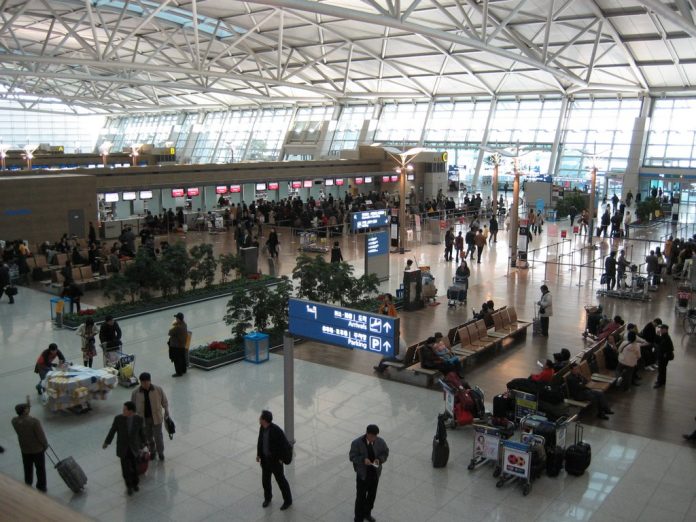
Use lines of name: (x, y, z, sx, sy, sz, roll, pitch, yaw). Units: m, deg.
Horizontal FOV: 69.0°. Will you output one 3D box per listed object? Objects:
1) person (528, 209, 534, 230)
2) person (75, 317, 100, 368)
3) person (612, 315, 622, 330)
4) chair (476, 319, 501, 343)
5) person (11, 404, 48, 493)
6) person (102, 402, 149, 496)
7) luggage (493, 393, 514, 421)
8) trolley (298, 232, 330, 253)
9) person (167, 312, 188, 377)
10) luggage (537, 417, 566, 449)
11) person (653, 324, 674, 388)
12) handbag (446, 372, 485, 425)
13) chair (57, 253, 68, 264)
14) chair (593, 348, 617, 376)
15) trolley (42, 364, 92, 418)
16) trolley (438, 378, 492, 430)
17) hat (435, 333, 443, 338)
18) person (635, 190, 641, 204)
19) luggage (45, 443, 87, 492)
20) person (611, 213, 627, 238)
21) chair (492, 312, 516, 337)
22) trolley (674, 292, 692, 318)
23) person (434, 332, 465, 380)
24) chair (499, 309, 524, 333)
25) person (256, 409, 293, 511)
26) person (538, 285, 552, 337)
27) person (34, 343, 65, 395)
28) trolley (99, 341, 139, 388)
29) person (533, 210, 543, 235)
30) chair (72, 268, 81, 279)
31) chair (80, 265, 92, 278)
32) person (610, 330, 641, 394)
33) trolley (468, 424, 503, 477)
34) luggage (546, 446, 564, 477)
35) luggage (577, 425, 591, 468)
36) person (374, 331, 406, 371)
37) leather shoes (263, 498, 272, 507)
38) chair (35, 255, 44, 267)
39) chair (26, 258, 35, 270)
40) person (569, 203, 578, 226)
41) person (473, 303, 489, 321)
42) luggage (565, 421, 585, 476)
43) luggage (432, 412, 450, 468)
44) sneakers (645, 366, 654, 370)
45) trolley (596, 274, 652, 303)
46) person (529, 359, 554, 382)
person: (11.068, -2.431, 30.466, 0.425, 1.208, 1.639, 4, 9, 19)
person: (-6.260, 2.000, 12.169, 0.407, 1.455, 1.182, -4, 9, -29)
person: (7.306, 1.634, 13.663, 0.219, 0.266, 0.724, 5, 9, 30)
chair: (3.872, 1.935, 14.043, 0.583, 0.755, 0.592, 12, 21, 41)
person: (-4.954, 2.857, 7.900, 0.404, 1.617, 0.912, -5, 10, -33)
person: (-3.508, 2.915, 7.999, 0.575, 1.429, 0.452, -3, 9, -23)
luggage: (2.971, 2.841, 9.716, 0.390, 0.492, 0.702, 4, 9, 25)
trolley: (-1.786, -1.030, 27.505, 2.315, 1.304, 0.809, 8, 16, 35)
person: (-4.088, 1.997, 12.209, 0.455, 1.646, 0.742, -2, 9, -19)
luggage: (3.554, 3.009, 8.787, 0.367, 0.435, 0.670, 7, 10, 37)
person: (7.409, 2.217, 11.827, 0.308, 1.471, 0.462, 6, 10, 33)
handbag: (2.276, 2.715, 10.214, 0.854, 0.989, 0.742, -6, 17, -3)
chair: (-12.112, -0.061, 21.412, 0.411, 0.403, 0.219, -2, 16, -18)
chair: (6.106, 2.344, 12.036, 0.854, 0.566, 0.506, -9, 11, -42)
trolley: (-5.739, 2.710, 10.413, 1.002, 0.916, 0.646, 3, 8, 13)
trolley: (2.308, 2.811, 10.094, 1.104, 0.768, 0.810, -2, 4, -16)
hat: (2.149, 1.763, 11.925, 0.217, 0.136, 0.278, 1, -3, 7)
person: (22.125, -4.912, 38.500, 0.350, 0.616, 0.836, 6, 10, 34)
luggage: (-4.335, 3.354, 7.925, 0.403, 0.586, 0.327, -4, 10, -31)
person: (16.121, -2.085, 30.138, 0.753, 1.456, 1.057, 5, 9, 28)
chair: (4.494, 1.870, 14.714, 0.263, 0.456, 0.673, 8, 16, 39)
trolley: (10.977, 1.475, 16.533, 0.292, 0.495, 0.958, 2, 44, 23)
person: (2.373, 2.262, 11.866, 0.440, 0.740, 1.031, 2, 14, 19)
chair: (4.862, 1.827, 15.118, 0.284, 0.395, 0.654, 11, 20, 39)
person: (-1.094, 2.924, 7.591, 0.514, 1.560, 0.528, 0, 8, -4)
person: (5.936, 1.444, 15.250, 0.344, 1.577, 1.264, 4, 9, 21)
person: (-6.416, 2.370, 10.865, 0.655, 1.180, 0.503, 16, 35, -11)
trolley: (-5.341, 2.430, 11.838, 0.845, 0.904, 0.591, 10, 6, 27)
person: (11.632, -2.231, 30.974, 0.503, 1.406, 2.240, 3, 9, 19)
chair: (-10.542, 0.490, 19.652, 0.276, 0.419, 0.317, -4, 10, -31)
chair: (-10.323, 0.448, 19.939, 0.425, 0.399, 0.410, -7, 7, -32)
person: (6.573, 2.311, 11.871, 0.446, 1.452, 0.476, -9, 22, -4)
trolley: (2.380, 3.159, 8.578, 0.507, 0.674, 0.600, -3, -6, 42)
luggage: (3.494, 3.358, 8.512, 0.352, 0.457, 0.185, -5, 10, -33)
luggage: (4.094, 3.246, 8.784, 0.228, 0.972, 0.391, -1, 20, 23)
person: (1.062, 2.393, 12.621, 0.780, 0.753, 0.661, 1, 8, 2)
leather shoes: (-1.234, 3.656, 7.642, 0.065, 0.115, 0.173, 2, -1, 43)
chair: (-12.933, 0.038, 21.238, 0.378, 0.379, 0.392, -5, 4, 43)
chair: (-13.103, 0.127, 20.888, 0.282, 0.500, 0.350, 0, 8, -5)
person: (15.630, -3.099, 34.995, 0.502, 1.408, 1.948, 4, 9, 23)
person: (3.900, 1.472, 14.741, 0.401, 0.439, 0.759, 3, 9, 15)
luggage: (3.910, 3.192, 8.590, 0.354, 0.723, 0.568, 7, 10, 36)
luggage: (1.638, 2.977, 8.844, 0.305, 0.991, 0.873, 2, 8, 12)
sneakers: (7.707, 2.758, 12.953, 0.204, 0.082, 0.090, -8, -44, 46)
trolley: (10.415, 1.117, 19.062, 1.454, 0.599, 1.036, 3, 11, 30)
person: (3.932, 2.178, 10.123, 0.791, 0.364, 0.297, -5, 10, -34)
